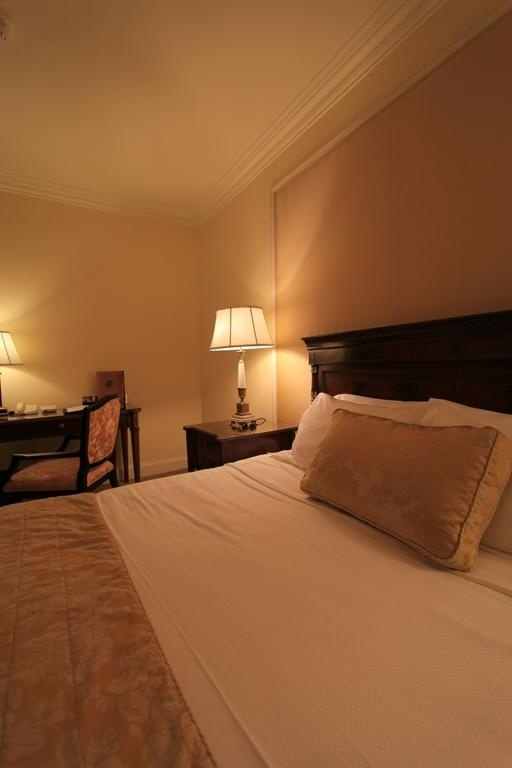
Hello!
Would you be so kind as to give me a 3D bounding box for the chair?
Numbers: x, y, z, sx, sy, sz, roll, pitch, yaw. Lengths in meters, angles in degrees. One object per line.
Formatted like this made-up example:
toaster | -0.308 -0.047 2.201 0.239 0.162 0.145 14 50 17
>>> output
chair | -1.009 0.266 2.674 0.503 0.808 0.507 1 1 8
